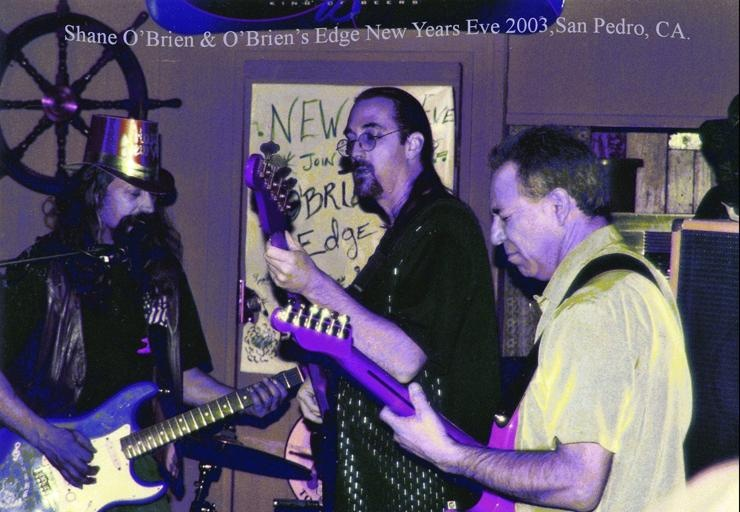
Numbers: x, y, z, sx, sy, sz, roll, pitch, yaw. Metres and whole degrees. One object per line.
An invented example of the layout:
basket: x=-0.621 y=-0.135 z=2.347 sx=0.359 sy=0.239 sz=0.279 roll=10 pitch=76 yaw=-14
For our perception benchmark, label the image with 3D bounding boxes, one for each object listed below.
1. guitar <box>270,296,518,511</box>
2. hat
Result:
guitar: x=0.347 y=0.953 z=6.498 sx=2.141 sy=0.256 sz=0.711 roll=42 pitch=16 yaw=-19
hat: x=-1.704 y=-0.732 z=7.657 sx=0.723 sy=0.504 sz=0.848 roll=-2 pitch=14 yaw=-37
